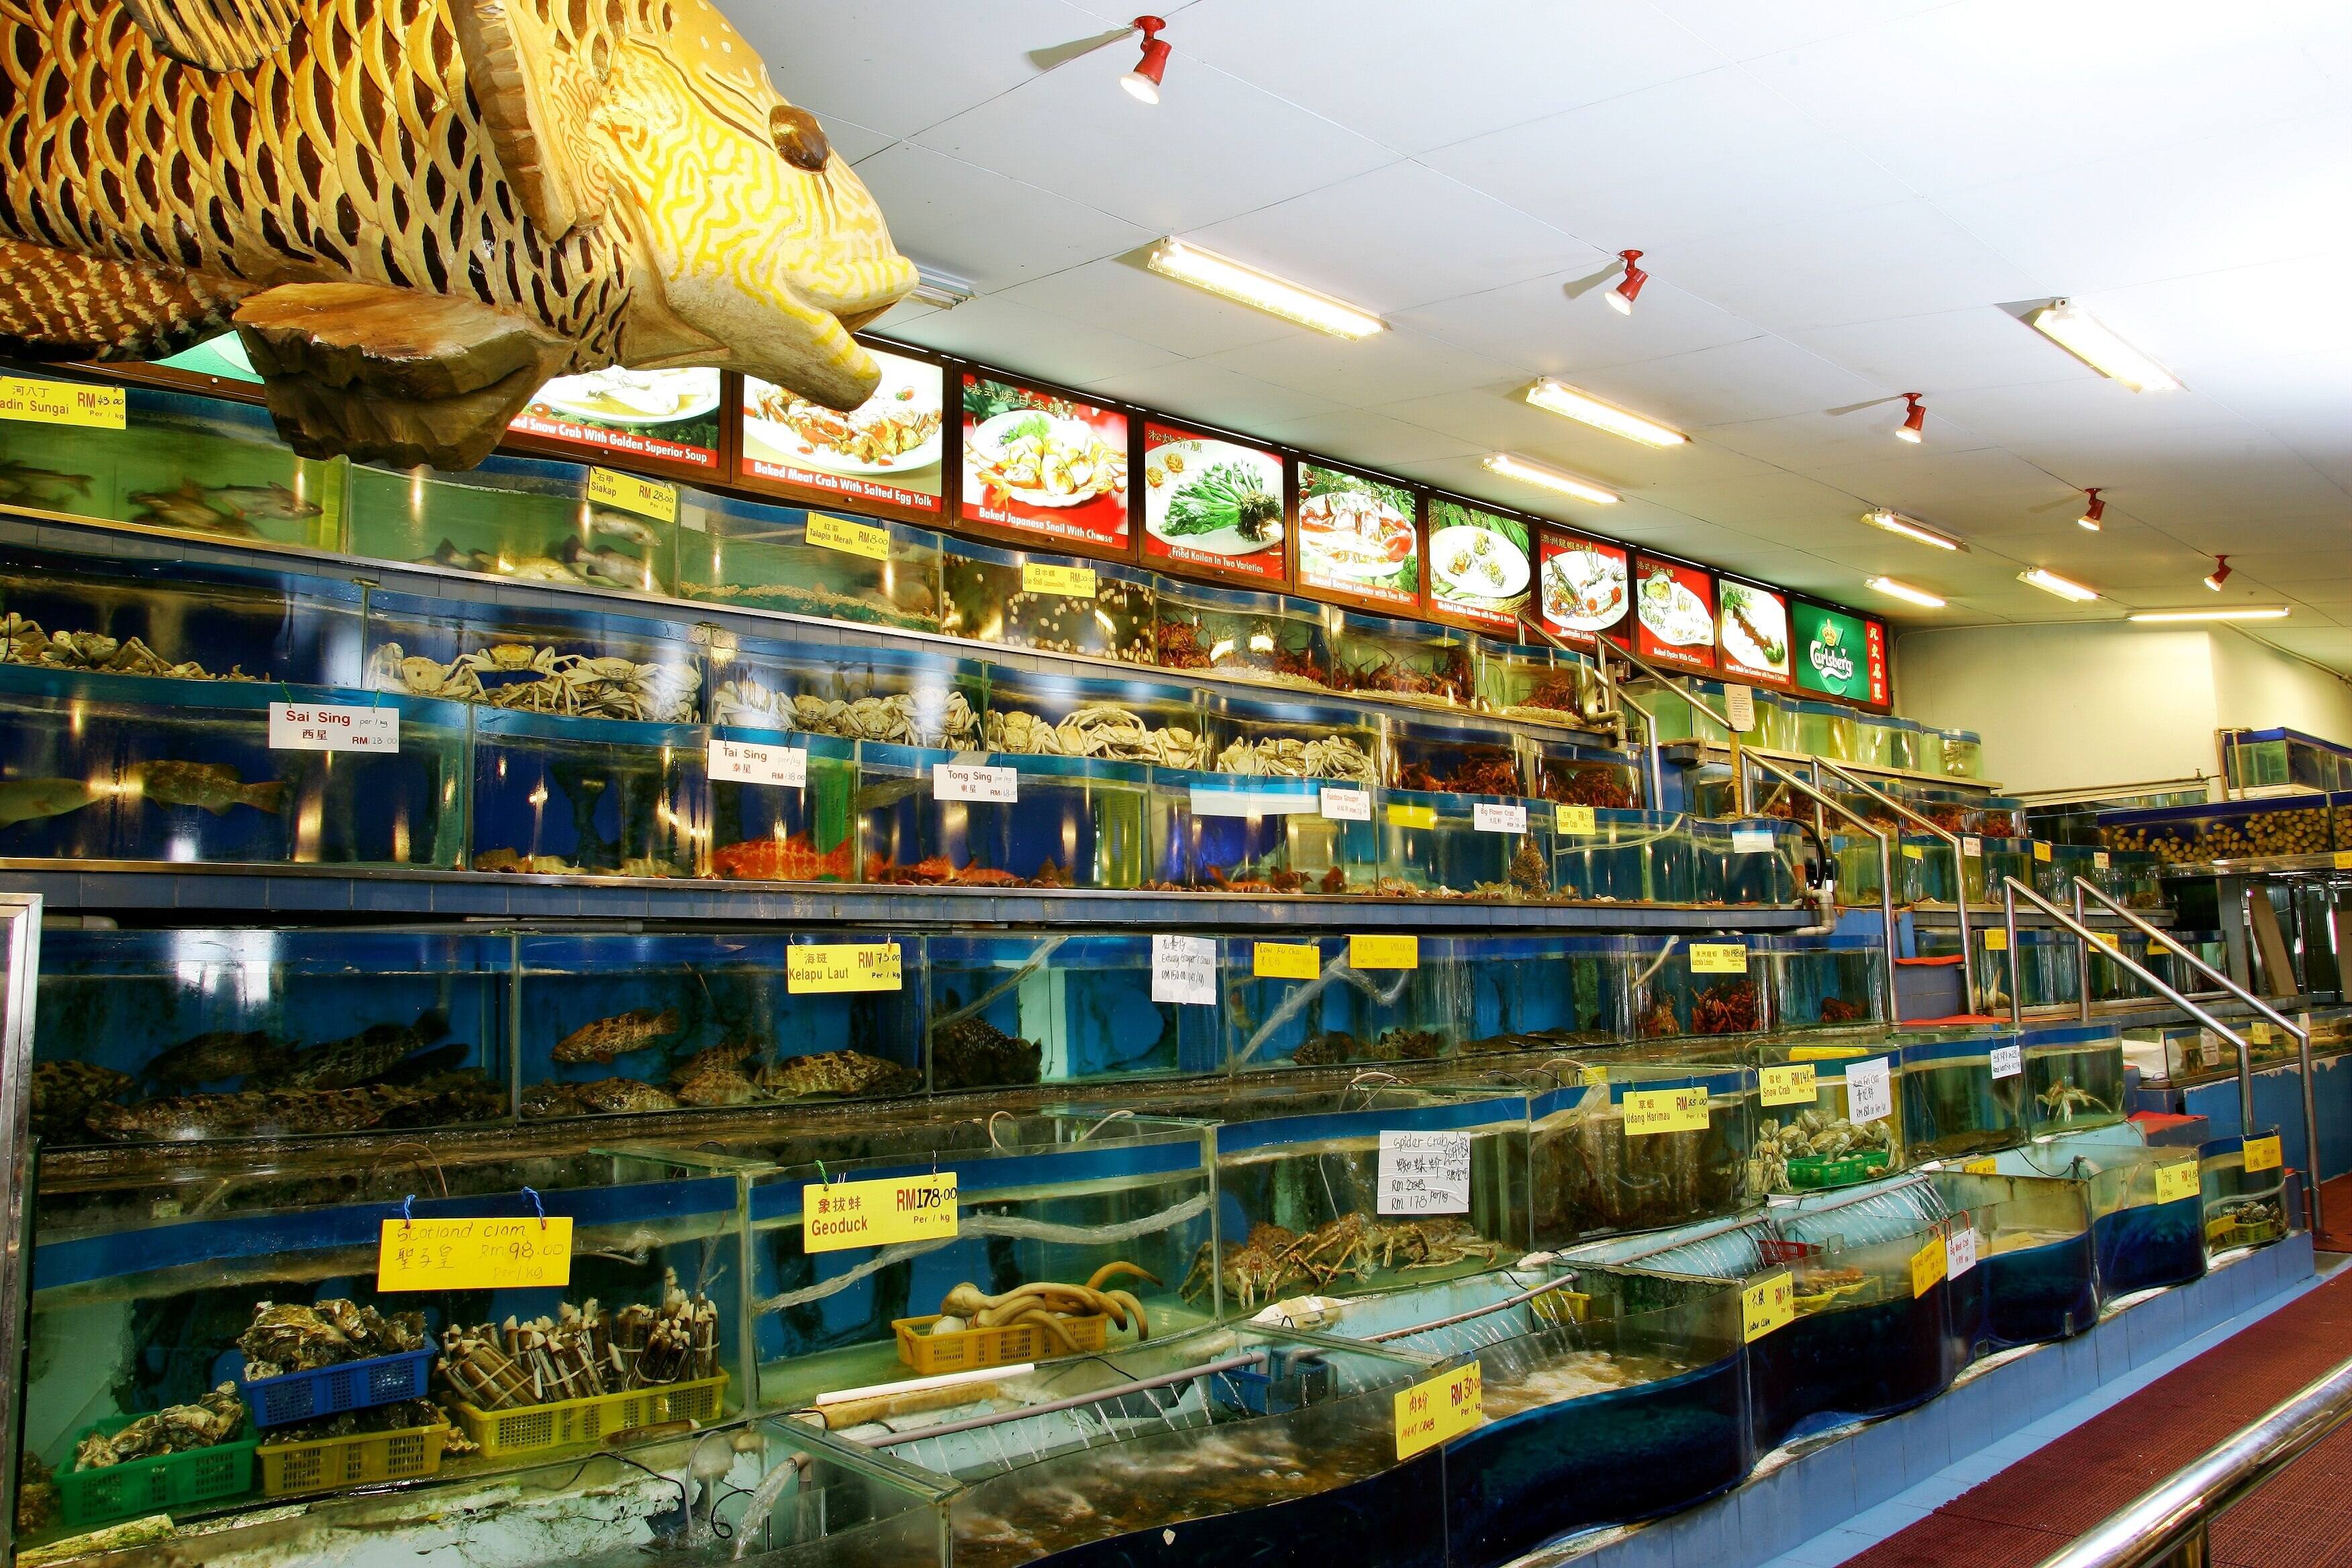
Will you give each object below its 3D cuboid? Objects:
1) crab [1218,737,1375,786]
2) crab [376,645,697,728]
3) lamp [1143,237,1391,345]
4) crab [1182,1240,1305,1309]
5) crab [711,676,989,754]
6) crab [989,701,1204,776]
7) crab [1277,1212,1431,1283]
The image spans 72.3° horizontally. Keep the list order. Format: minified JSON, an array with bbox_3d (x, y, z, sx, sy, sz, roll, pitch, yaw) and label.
[{"bbox_3d":[0.409,-0.115,5.498,0.644,0.142,0.139,3,-6,-38],"label":"crab"},{"bbox_3d":[-1.653,-0.291,4.194,0.790,0.190,0.115,2,-6,-29],"label":"crab"},{"bbox_3d":[0.348,-1.825,5.913,1.157,0.076,0.276,3,-6,-40],"label":"lamp"},{"bbox_3d":[0.126,1.004,3.291,0.170,0.055,0.162,0,-1,17],"label":"crab"},{"bbox_3d":[-0.925,-0.223,4.688,0.443,0.112,0.284,11,-6,-24],"label":"crab"},{"bbox_3d":[-0.245,-0.170,5.172,0.523,0.115,0.283,8,-8,-42],"label":"crab"},{"bbox_3d":[0.391,0.993,3.445,0.220,0.074,0.154,0,23,-44],"label":"crab"}]
